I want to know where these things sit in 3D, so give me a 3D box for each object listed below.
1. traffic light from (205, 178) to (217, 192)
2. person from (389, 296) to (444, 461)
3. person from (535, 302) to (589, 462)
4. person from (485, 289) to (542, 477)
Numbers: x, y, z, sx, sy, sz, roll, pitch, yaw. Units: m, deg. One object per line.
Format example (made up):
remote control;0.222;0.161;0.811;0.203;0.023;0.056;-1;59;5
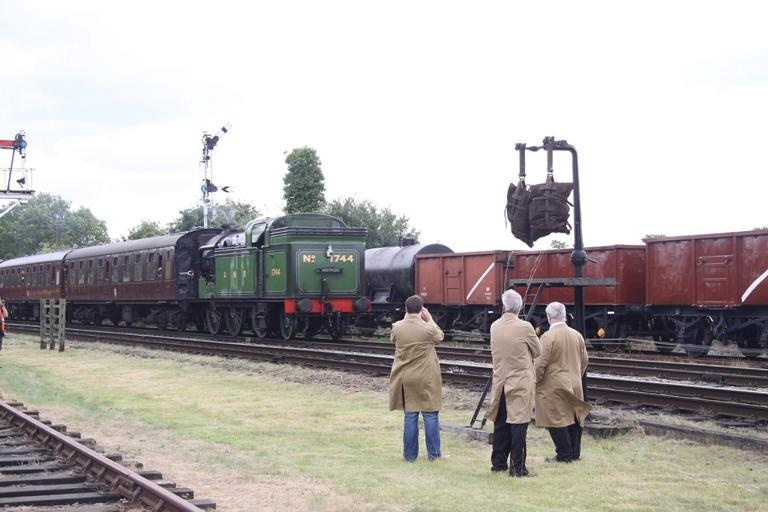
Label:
traffic light;-9.955;-4.080;46.823;0.579;0.769;2.580;2;-3;-13
person;0.485;1.951;12.811;0.801;2.593;0.321;1;-2;2
person;2.711;1.961;12.484;0.849;2.455;0.329;1;-2;-8
person;1.941;1.904;12.214;0.775;2.767;0.486;1;-2;10
